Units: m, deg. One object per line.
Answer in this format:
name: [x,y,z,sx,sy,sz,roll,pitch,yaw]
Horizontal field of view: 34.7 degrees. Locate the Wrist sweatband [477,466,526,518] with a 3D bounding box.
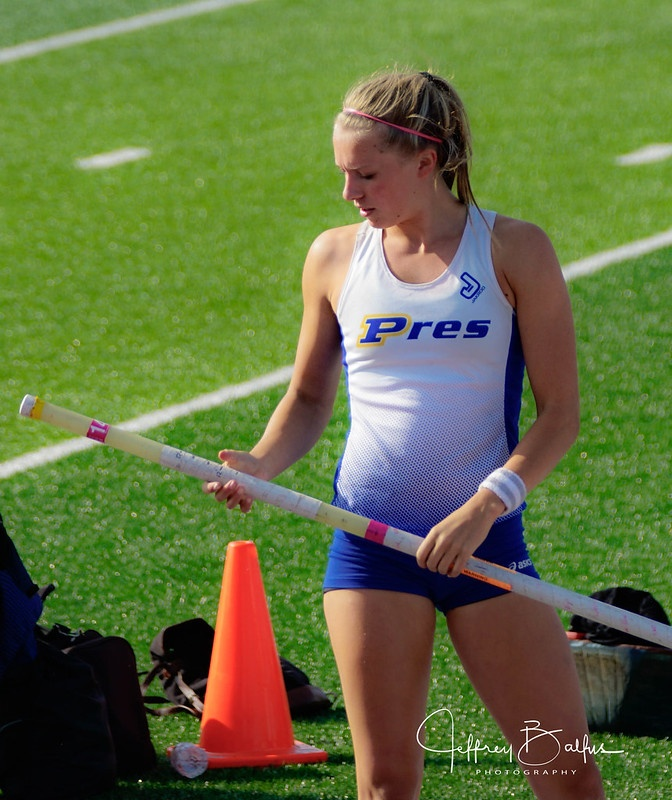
Wrist sweatband: [0.303,0.155,1.916,0.058,0.083,0.088,-45,-2,23]

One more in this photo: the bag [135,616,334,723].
bag: [-0.300,0.751,3.101,0.338,0.161,0.437,-8,21,-45]
